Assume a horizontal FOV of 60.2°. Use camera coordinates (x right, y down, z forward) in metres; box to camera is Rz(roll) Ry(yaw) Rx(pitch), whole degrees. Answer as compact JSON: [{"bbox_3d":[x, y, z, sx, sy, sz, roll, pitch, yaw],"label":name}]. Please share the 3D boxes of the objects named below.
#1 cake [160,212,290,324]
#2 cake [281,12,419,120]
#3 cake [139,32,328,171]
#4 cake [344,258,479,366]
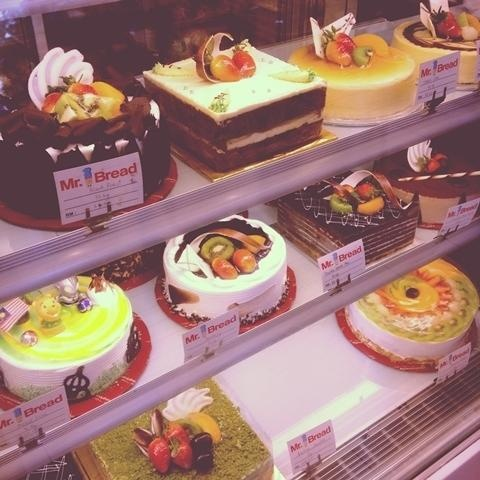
[{"bbox_3d":[-0.052,0.150,1.449,0.372,0.194,0.382,14,45,9],"label":"cake"},{"bbox_3d":[0.435,-0.607,1.418,0.392,0.129,0.401,-2,46,0],"label":"cake"},{"bbox_3d":[-0.028,-0.399,1.211,0.470,0.239,0.466,-24,50,-26],"label":"cake"},{"bbox_3d":[0.760,0.331,1.890,0.529,0.157,0.535,-14,42,-12],"label":"cake"}]
